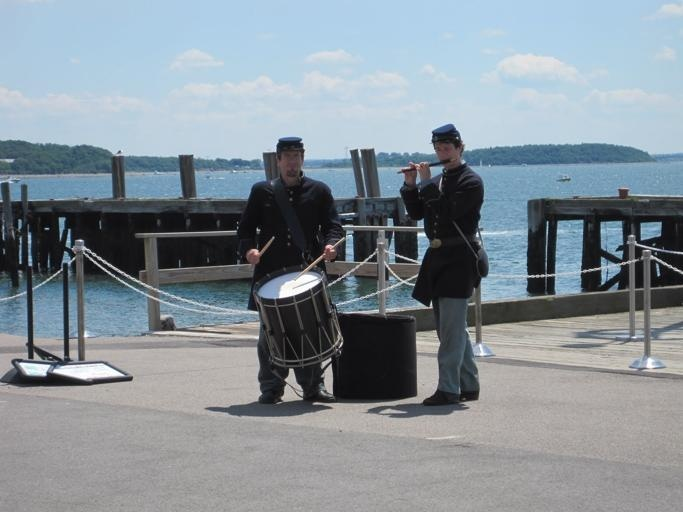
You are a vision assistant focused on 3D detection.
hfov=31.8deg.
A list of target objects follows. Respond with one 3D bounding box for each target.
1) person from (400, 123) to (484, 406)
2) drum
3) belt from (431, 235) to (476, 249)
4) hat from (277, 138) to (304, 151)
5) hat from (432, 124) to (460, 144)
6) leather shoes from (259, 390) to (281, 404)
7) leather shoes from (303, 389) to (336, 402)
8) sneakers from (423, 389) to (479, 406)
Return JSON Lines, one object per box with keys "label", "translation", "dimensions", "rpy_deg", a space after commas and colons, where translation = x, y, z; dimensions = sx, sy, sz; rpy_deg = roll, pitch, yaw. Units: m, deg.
{"label": "person", "translation": [0.774, 0.080, 9.043], "dimensions": [0.652, 2.085, 0.513], "rpy_deg": [1, 8, 6]}
{"label": "drum", "translation": [-0.377, 0.481, 9.052], "dimensions": [0.684, 0.581, 0.673], "rpy_deg": [-17, 16, -35]}
{"label": "belt", "translation": [0.812, -0.090, 8.982], "dimensions": [0.264, 0.091, 0.041], "rpy_deg": [0, 8, 0]}
{"label": "hat", "translation": [-0.400, -0.818, 9.053], "dimensions": [0.181, 0.098, 0.097], "rpy_deg": [1, 8, 3]}
{"label": "hat", "translation": [0.778, -0.886, 8.934], "dimensions": [0.199, 0.135, 0.145], "rpy_deg": [1, 8, 7]}
{"label": "leather shoes", "translation": [-0.549, 1.092, 9.162], "dimensions": [0.198, 0.068, 0.075], "rpy_deg": [0, -30, -12]}
{"label": "leather shoes", "translation": [-0.174, 1.085, 9.218], "dimensions": [0.261, 0.088, 0.086], "rpy_deg": [-2, 6, 7]}
{"label": "sneakers", "translation": [0.851, 1.076, 9.098], "dimensions": [0.440, 0.150, 0.139], "rpy_deg": [1, -2, -14]}
